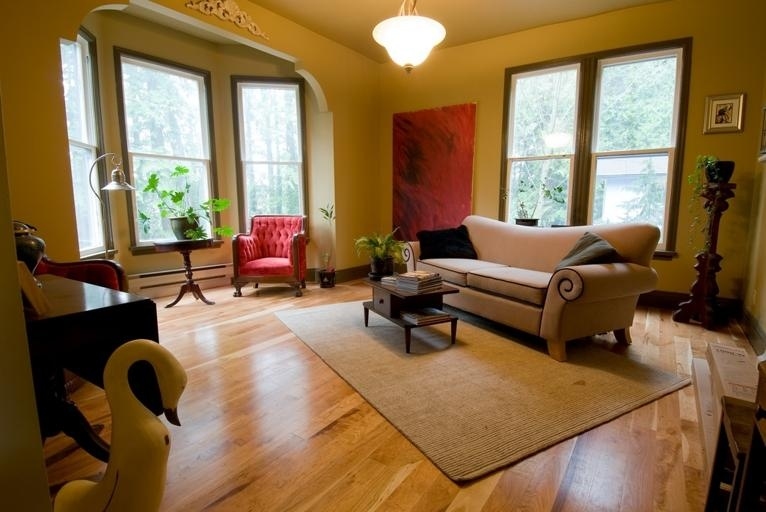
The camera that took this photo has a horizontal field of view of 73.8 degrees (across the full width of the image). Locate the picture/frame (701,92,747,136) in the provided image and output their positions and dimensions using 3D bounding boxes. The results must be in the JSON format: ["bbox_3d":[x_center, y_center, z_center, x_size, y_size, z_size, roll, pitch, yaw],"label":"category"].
[{"bbox_3d":[3.534,-1.471,5.272,0.443,0.522,0.055,5,8,37],"label":"picture/frame"}]

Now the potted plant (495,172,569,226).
[{"bbox_3d":[1.855,-0.674,6.280,0.579,0.621,0.666,1,0,4],"label":"potted plant"}]

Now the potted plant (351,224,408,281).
[{"bbox_3d":[0.005,-0.024,5.250,0.475,0.472,0.489,-5,-1,-32],"label":"potted plant"}]

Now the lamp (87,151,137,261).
[{"bbox_3d":[-2.961,-0.548,5.599,0.429,1.152,0.922,-7,14,-26],"label":"lamp"}]

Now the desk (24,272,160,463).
[{"bbox_3d":[-1.776,0.702,3.088,0.566,0.779,1.076,-10,15,-35],"label":"desk"}]

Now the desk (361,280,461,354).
[{"bbox_3d":[0.238,0.507,4.956,0.600,0.506,0.995,-5,8,-28],"label":"desk"}]

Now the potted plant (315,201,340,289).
[{"bbox_3d":[-0.754,-0.169,6.881,0.248,1.096,0.512,-2,13,-6],"label":"potted plant"}]

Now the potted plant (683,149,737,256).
[{"bbox_3d":[3.326,-0.516,5.234,0.398,0.994,0.551,8,15,31],"label":"potted plant"}]

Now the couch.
[{"bbox_3d":[1.341,0.140,5.417,1.167,1.168,2.674,-1,7,-30],"label":"couch"}]

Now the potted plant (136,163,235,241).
[{"bbox_3d":[-2.380,-0.627,6.347,0.960,0.806,0.973,2,9,41],"label":"potted plant"}]

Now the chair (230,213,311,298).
[{"bbox_3d":[-1.430,-0.040,6.527,0.847,0.981,0.819,-2,7,-6],"label":"chair"}]

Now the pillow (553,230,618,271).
[{"bbox_3d":[1.808,-0.043,4.540,0.427,0.255,0.412,-5,13,-23],"label":"pillow"}]
